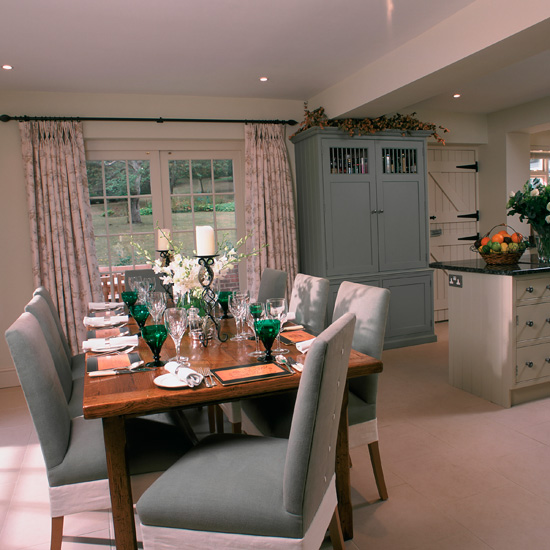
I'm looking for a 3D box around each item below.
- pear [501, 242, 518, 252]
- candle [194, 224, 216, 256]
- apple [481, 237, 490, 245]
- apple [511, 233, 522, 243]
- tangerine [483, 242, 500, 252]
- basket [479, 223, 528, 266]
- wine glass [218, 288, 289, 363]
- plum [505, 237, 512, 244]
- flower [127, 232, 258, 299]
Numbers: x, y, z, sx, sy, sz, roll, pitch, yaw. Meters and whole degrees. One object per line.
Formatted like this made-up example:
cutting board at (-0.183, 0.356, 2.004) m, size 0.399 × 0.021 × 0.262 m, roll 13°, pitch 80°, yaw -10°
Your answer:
pear at (1.638, -0.190, 3.269) m, size 0.110 × 0.060 × 0.048 m, roll -4°, pitch 7°, yaw -8°
candle at (-0.319, -0.153, 2.171) m, size 0.090 × 0.138 × 0.101 m, roll -4°, pitch 7°, yaw -8°
apple at (1.535, -0.250, 3.402) m, size 0.046 × 0.046 × 0.047 m, roll -10°, pitch 27°, yaw 15°
apple at (1.706, -0.264, 3.317) m, size 0.064 × 0.090 × 0.063 m, roll 3°, pitch 15°, yaw 26°
tangerine at (1.537, -0.197, 3.315) m, size 0.063 × 0.084 × 0.064 m, roll -29°, pitch 9°, yaw 2°
basket at (1.634, -0.224, 3.378) m, size 0.322 × 0.230 × 0.300 m, roll -5°, pitch 18°, yaw 17°
wine glass at (-0.152, 0.196, 2.096) m, size 0.147 × 0.262 × 0.635 m, roll -2°, pitch 3°, yaw -16°
plum at (1.663, -0.247, 3.334) m, size 0.044 × 0.027 × 0.043 m, roll -17°, pitch 23°, yaw -22°
flower at (-0.615, -0.079, 3.281) m, size 0.589 × 0.422 × 0.593 m, roll -2°, pitch 5°, yaw -2°
